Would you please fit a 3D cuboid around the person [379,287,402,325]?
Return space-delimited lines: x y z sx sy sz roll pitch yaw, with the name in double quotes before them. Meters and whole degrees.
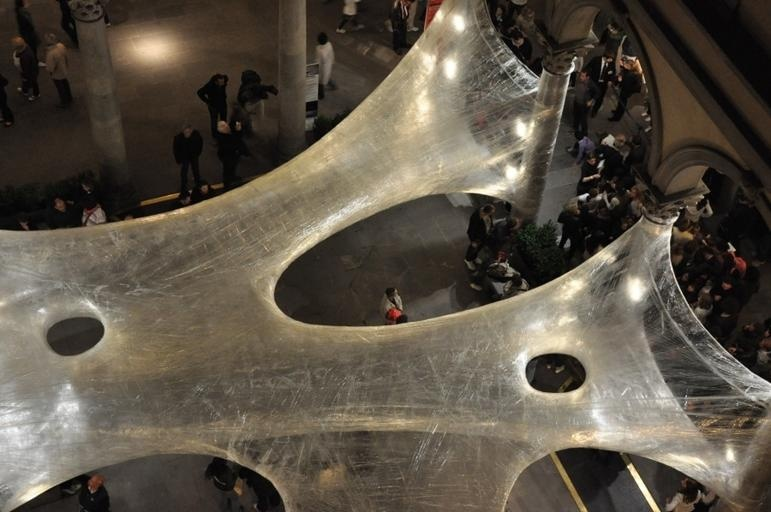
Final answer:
"person" 0.167 1.083 17.272 0.430 1.018 0.546 0 -28 -11

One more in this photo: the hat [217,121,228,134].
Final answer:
"hat" -4.036 -3.147 19.242 0.213 0.319 0.290 9 -2 41

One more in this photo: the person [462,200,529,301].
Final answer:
"person" 2.689 -0.023 18.799 0.921 1.664 1.509 -17 -34 -18
